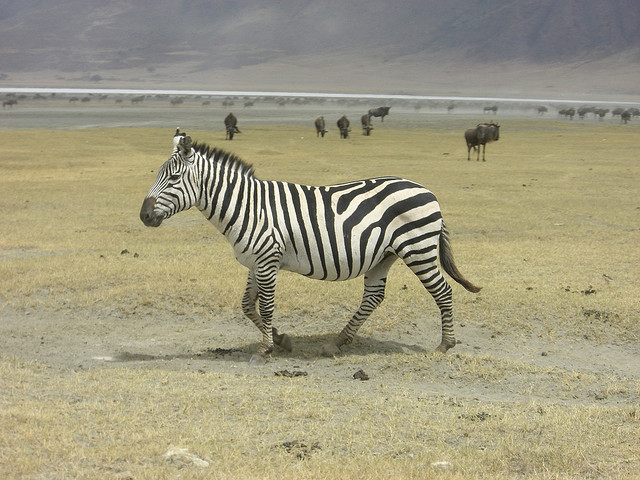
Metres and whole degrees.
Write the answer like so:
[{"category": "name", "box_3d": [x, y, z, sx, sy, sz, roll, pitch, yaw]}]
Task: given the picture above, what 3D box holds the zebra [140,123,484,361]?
[{"category": "zebra", "box_3d": [-0.147, 0.052, 14.383, 4.994, 3.915, 1.772, -3, 19, -4]}]
